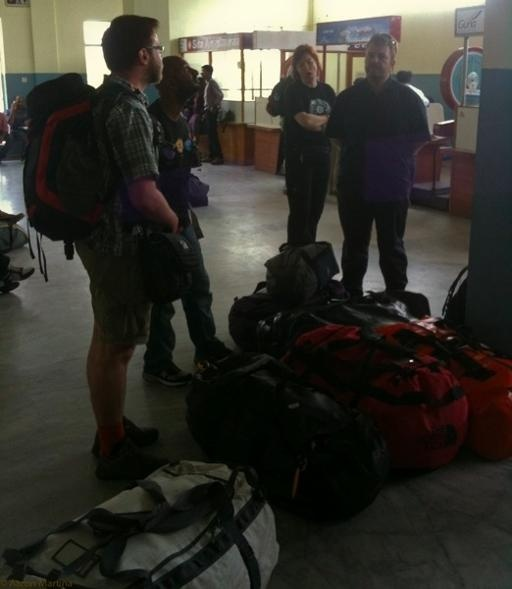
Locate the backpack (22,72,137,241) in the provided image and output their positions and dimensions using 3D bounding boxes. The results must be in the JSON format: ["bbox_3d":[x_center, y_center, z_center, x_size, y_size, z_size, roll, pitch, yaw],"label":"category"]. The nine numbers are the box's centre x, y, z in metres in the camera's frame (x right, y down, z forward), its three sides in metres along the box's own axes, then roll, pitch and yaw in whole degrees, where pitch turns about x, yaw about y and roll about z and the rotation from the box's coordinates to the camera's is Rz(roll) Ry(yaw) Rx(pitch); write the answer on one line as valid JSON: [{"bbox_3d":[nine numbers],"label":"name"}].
[{"bbox_3d":[-0.524,-0.382,1.680,0.386,0.699,0.506,1,7,-14],"label":"backpack"}]

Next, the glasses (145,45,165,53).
[{"bbox_3d":[-0.313,-0.776,1.514,0.063,0.019,0.062,2,34,-2],"label":"glasses"}]

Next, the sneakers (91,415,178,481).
[{"bbox_3d":[-0.429,0.613,1.713,0.248,0.108,0.292,-9,21,-14],"label":"sneakers"}]

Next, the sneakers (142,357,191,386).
[{"bbox_3d":[-0.433,0.378,2.433,0.263,0.120,0.098,4,10,15],"label":"sneakers"}]
